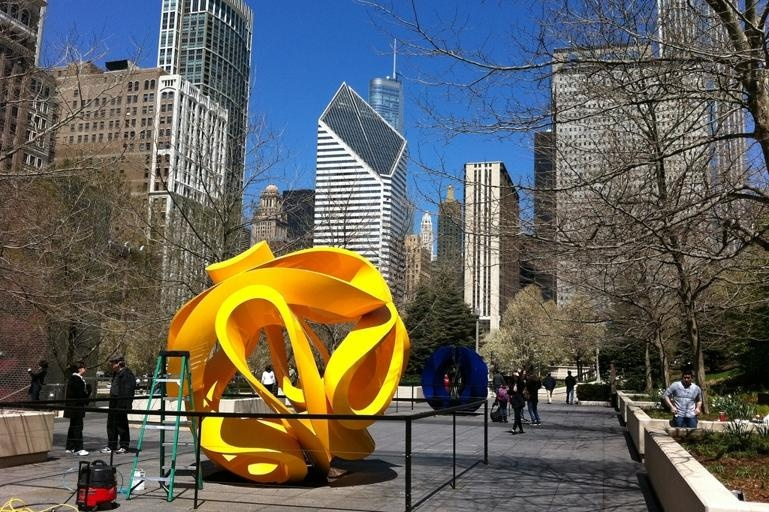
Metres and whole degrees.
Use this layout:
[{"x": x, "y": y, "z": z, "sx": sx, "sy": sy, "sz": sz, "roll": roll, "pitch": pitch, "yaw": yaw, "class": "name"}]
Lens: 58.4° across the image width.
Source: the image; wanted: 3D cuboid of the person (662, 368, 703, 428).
[{"x": 7.147, "y": 3.401, "z": 16.402, "sx": 0.817, "sy": 1.375, "sz": 1.672, "roll": -6, "pitch": -13, "yaw": 22, "class": "person"}]

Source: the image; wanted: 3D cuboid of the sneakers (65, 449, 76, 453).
[{"x": -7.710, "y": 4.752, "z": 16.688, "sx": 0.194, "sy": 0.083, "sz": 0.094, "roll": -6, "pitch": -8, "yaw": 23, "class": "sneakers"}]

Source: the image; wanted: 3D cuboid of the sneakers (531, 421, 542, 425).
[{"x": 5.487, "y": 6.090, "z": 24.803, "sx": 0.418, "sy": 0.180, "sz": 0.151, "roll": 5, "pitch": -10, "yaw": -2, "class": "sneakers"}]
